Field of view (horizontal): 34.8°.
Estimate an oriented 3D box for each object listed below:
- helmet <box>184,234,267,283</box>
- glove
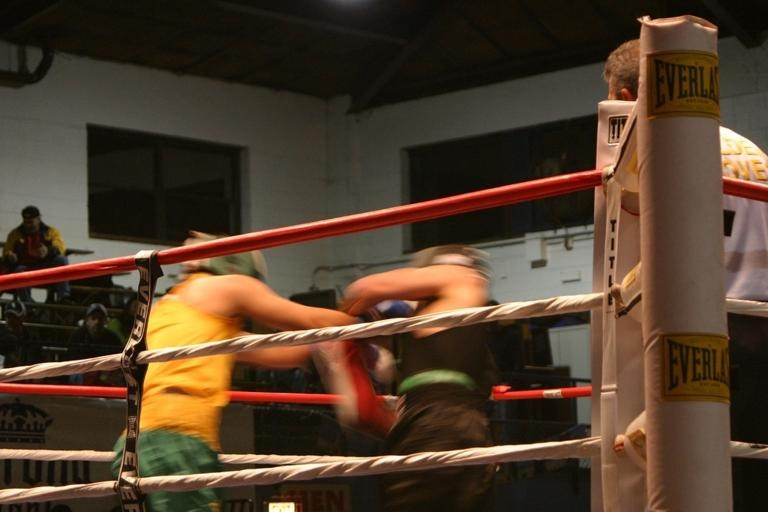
[{"bbox_3d":[-0.955,-0.008,7.319,0.412,0.324,0.291,-3,-15,-13],"label":"helmet"},{"bbox_3d":[-0.083,0.790,7.691,0.390,1.121,0.508,-7,24,21],"label":"glove"}]
